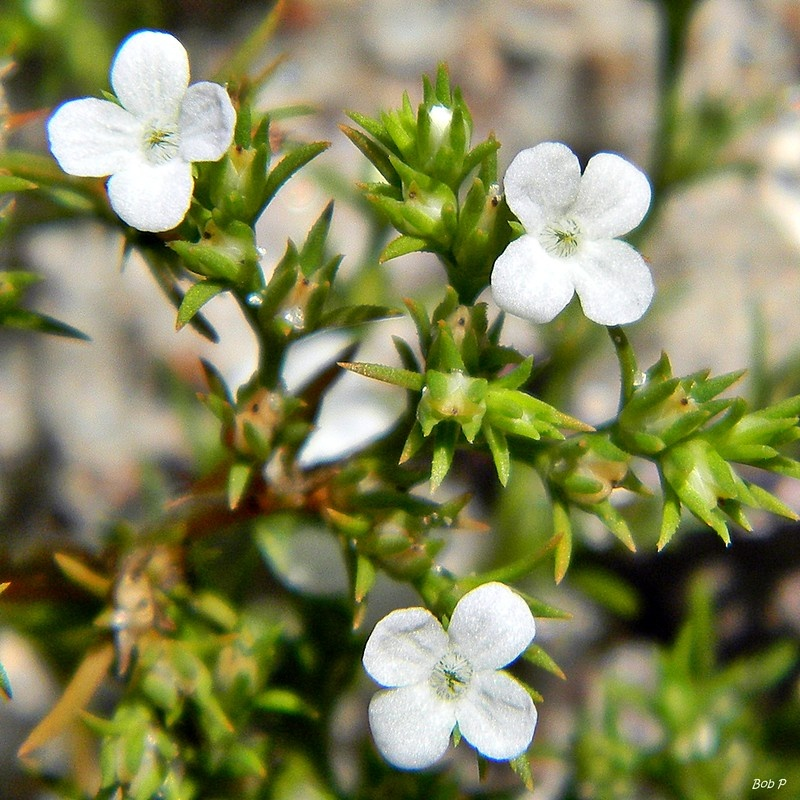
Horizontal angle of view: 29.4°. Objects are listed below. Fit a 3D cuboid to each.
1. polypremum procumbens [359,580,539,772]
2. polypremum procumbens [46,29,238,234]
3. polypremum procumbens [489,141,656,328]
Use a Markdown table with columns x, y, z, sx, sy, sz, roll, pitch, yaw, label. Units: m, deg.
| x | y | z | sx | sy | sz | roll | pitch | yaw | label |
| --- | --- | --- | --- | --- | --- | --- | --- | --- | --- |
| 0.176 | 0.832 | 4.601 | 0.582 | 0.129 | 0.613 | 23 | 72 | 13 | polypremum procumbens |
| -0.762 | -0.818 | 4.632 | 0.516 | 0.184 | 0.520 | -42 | 73 | -9 | polypremum procumbens |
| 0.525 | -0.505 | 4.657 | 0.481 | 0.272 | 0.549 | -1 | 71 | 5 | polypremum procumbens |
